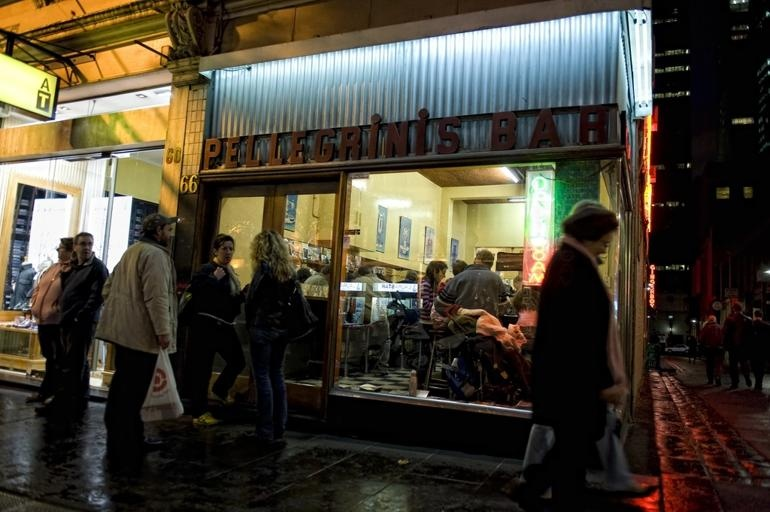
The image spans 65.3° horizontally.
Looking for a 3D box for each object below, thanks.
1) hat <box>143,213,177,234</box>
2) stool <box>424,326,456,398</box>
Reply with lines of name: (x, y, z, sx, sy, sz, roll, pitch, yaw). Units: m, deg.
hat: (-2.656, -0.384, 7.075, 0.346, 0.164, 0.217, -19, 24, -39)
stool: (0.791, 1.536, 8.622, 0.632, 0.878, 0.627, 10, -19, -37)
